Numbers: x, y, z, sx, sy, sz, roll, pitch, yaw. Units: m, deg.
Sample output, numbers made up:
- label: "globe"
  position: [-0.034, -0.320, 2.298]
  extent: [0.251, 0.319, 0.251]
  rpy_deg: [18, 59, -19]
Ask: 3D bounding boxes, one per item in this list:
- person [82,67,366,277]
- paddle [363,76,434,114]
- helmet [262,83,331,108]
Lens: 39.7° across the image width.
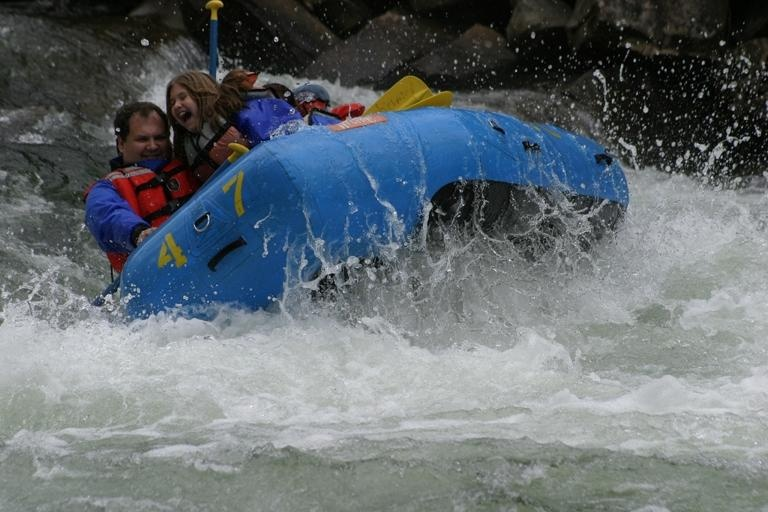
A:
- label: "person"
  position: [-1.136, -0.428, 6.776]
  extent: [1.379, 0.535, 1.342]
  rpy_deg: [-36, 18, -13]
- label: "paddle"
  position: [0.117, -1.095, 7.373]
  extent: [0.105, 0.230, 0.541]
  rpy_deg: [-27, 1, -41]
- label: "helmet"
  position: [-0.605, -1.101, 7.432]
  extent: [0.367, 0.128, 0.258]
  rpy_deg: [6, 8, -20]
